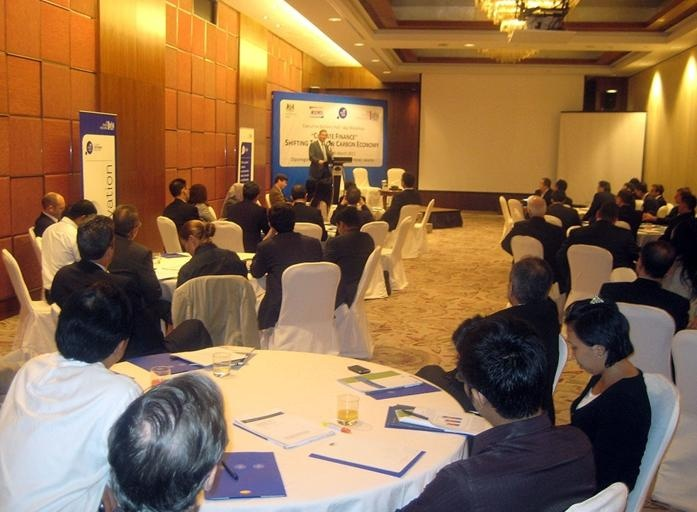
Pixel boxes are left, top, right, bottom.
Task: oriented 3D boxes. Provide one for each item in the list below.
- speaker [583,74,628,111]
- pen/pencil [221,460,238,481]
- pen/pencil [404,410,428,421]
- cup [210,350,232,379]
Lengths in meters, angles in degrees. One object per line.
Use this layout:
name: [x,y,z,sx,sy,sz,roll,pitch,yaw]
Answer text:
speaker: [7.695,-4.885,15.728,0.601,1.213,1.231,4,7,22]
pen/pencil: [-0.402,0.719,1.769,0.026,0.027,0.108,-3,5,-21]
pen/pencil: [0.274,0.661,2.232,0.104,0.030,0.028,6,36,30]
cup: [-0.620,0.526,2.609,0.103,0.120,0.106,3,6,0]
